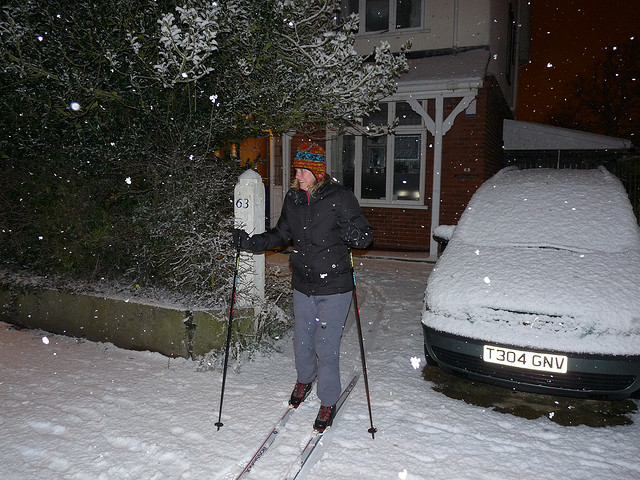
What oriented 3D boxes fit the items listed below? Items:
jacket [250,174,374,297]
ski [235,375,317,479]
[{"bbox_3d":[-0.076,-0.031,4.551,1.135,1.180,0.601,-2,1,23],"label":"jacket"},{"bbox_3d":[-0.377,1.687,4.437,0.155,0.083,1.457,10,19,21],"label":"ski"}]
